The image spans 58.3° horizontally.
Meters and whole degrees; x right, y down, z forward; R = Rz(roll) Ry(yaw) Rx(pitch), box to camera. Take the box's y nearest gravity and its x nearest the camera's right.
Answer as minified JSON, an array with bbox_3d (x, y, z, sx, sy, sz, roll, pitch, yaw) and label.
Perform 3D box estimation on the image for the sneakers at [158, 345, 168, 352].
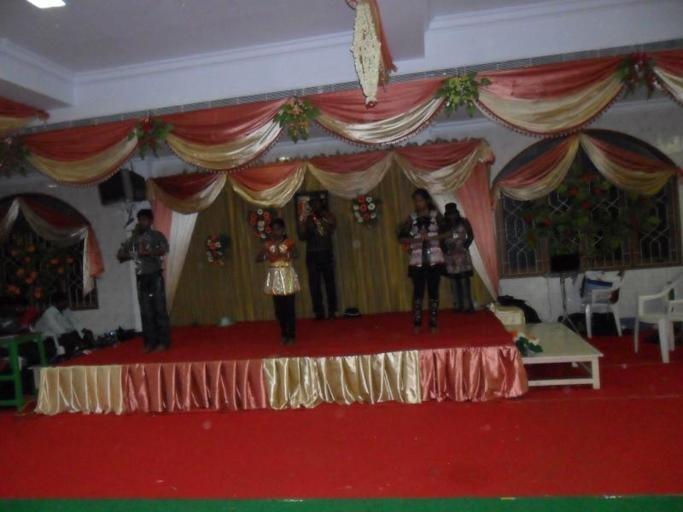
[{"bbox_3d":[-2.227,1.136,7.584,0.111,0.075,0.085,-2,-6,-19],"label":"sneakers"}]

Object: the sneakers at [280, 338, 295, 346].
[{"bbox_3d":[-0.668,1.044,7.449,0.116,0.076,0.191,-19,-21,3],"label":"sneakers"}]

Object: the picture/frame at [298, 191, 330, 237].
[{"bbox_3d":[-0.431,-0.647,9.566,0.569,0.985,0.092,3,8,20],"label":"picture/frame"}]

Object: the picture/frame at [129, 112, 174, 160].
[{"bbox_3d":[-2.188,-1.402,7.073,0.471,0.502,0.222,-5,-5,16],"label":"picture/frame"}]

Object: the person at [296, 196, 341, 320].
[{"bbox_3d":[-0.373,-0.012,9.582,0.548,2.010,0.729,-3,-5,-1],"label":"person"}]

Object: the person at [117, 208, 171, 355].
[{"bbox_3d":[-2.465,0.280,7.668,0.548,1.791,0.390,-2,-5,-12],"label":"person"}]

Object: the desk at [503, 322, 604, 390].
[{"bbox_3d":[2.561,1.168,7.165,0.819,0.678,1.293,-6,-6,18],"label":"desk"}]

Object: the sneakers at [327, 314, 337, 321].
[{"bbox_3d":[-0.153,0.943,9.425,0.135,0.080,0.246,-4,-6,-3],"label":"sneakers"}]

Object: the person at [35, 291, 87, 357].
[{"bbox_3d":[-4.019,0.963,8.683,0.616,0.907,0.570,-1,-6,-27],"label":"person"}]

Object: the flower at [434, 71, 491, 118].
[{"bbox_3d":[1.256,-1.733,6.710,0.461,0.570,0.232,-15,2,1],"label":"flower"}]

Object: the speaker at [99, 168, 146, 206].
[{"bbox_3d":[-3.741,-1.147,10.267,0.602,0.210,0.662,20,-51,-6],"label":"speaker"}]

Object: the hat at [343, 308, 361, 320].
[{"bbox_3d":[0.140,0.880,9.435,0.290,0.157,0.247,-6,-6,16],"label":"hat"}]

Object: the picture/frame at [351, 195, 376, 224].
[{"bbox_3d":[0.358,-0.741,9.759,0.357,0.455,0.123,2,-3,7],"label":"picture/frame"}]

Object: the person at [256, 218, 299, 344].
[{"bbox_3d":[-0.786,0.289,7.560,0.459,1.553,0.384,-2,-5,-9],"label":"person"}]

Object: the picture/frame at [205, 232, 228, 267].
[{"bbox_3d":[-2.083,-0.112,10.338,0.316,0.536,0.148,11,2,1],"label":"picture/frame"}]

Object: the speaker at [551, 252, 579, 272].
[{"bbox_3d":[3.164,0.107,8.635,0.404,0.283,0.206,-3,-5,-5],"label":"speaker"}]

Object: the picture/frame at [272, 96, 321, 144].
[{"bbox_3d":[-0.513,-1.514,6.819,0.515,0.493,0.210,-4,-5,2],"label":"picture/frame"}]

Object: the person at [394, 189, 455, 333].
[{"bbox_3d":[1.000,0.005,7.526,0.529,1.767,0.525,-5,-5,21],"label":"person"}]

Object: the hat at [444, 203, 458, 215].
[{"bbox_3d":[1.618,-0.693,9.147,0.158,0.178,0.162,-1,0,43],"label":"hat"}]

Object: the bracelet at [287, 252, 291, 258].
[{"bbox_3d":[-0.659,-0.014,7.469,0.050,0.063,0.015,-3,9,-12],"label":"bracelet"}]
